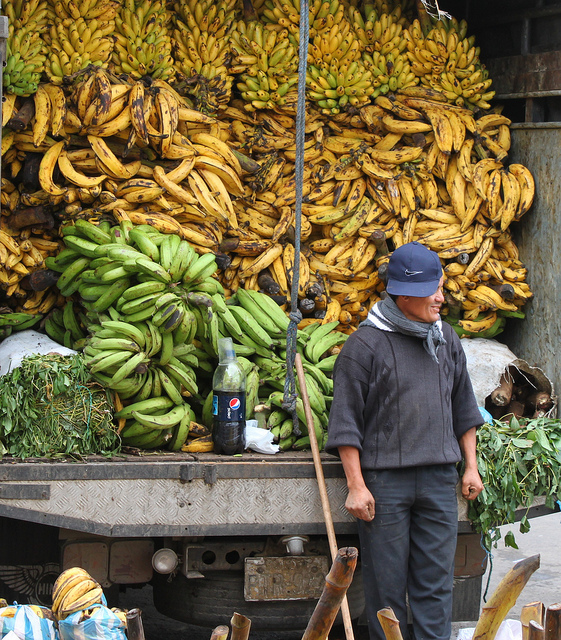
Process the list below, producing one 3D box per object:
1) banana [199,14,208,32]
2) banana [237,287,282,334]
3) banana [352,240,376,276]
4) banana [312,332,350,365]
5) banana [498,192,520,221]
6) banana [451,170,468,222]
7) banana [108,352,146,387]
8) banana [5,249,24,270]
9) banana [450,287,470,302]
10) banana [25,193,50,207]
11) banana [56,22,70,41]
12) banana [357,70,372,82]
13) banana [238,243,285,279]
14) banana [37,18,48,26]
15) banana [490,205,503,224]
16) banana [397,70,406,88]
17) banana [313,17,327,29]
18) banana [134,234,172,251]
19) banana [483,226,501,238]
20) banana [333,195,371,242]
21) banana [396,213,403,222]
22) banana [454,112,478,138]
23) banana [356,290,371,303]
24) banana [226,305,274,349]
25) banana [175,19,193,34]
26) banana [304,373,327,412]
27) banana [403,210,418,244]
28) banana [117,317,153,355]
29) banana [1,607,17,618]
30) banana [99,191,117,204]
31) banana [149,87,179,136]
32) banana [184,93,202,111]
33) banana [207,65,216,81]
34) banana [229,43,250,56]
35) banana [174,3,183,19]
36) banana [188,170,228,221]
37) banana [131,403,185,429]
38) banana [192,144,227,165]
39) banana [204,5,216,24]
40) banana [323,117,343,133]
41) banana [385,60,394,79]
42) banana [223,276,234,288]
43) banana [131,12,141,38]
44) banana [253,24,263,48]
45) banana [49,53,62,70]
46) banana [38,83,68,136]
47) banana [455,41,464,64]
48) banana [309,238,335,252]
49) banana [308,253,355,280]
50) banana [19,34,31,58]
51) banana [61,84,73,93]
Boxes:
[{"bbox_3d":[-0.473,-1.839,4.788,0.035,0.110,0.038,5,-8,16],"label":"banana"},{"bbox_3d":[-0.126,-0.048,4.533,0.310,0.066,0.107,49,13,22],"label":"banana"},{"bbox_3d":[0.572,-0.412,5.069,0.086,0.316,0.115,42,-36,-19],"label":"banana"},{"bbox_3d":[0.280,0.154,4.662,0.090,0.120,0.425,10,11,27],"label":"banana"},{"bbox_3d":[1.492,-0.771,5.062,0.058,0.261,0.098,-23,-27,30],"label":"banana"},{"bbox_3d":[1.200,-0.831,5.199,0.085,0.332,0.116,-4,-12,31],"label":"banana"},{"bbox_3d":[-0.755,0.235,3.776,0.039,0.201,0.052,45,1,14],"label":"banana"},{"bbox_3d":[-1.436,-0.326,4.167,0.052,0.046,0.137,3,35,29],"label":"banana"},{"bbox_3d":[1.169,-0.169,5.014,0.076,0.049,0.197,37,32,11],"label":"banana"},{"bbox_3d":[-1.336,-0.660,4.311,0.154,0.044,0.095,4,18,-24],"label":"banana"},{"bbox_3d":[-1.207,-1.609,4.332,0.031,0.113,0.037,-16,20,23],"label":"banana"},{"bbox_3d":[0.552,-1.572,4.977,0.034,0.039,0.117,14,45,47],"label":"banana"},{"bbox_3d":[-0.132,-0.366,4.823,0.281,0.066,0.094,-39,8,-35],"label":"banana"},{"bbox_3d":[-1.322,-1.666,4.317,0.055,0.028,0.018,-39,-51,15],"label":"banana"},{"bbox_3d":[1.406,-0.689,5.027,0.033,0.117,0.041,32,-19,-7],"label":"banana"},{"bbox_3d":[0.794,-1.581,5.077,0.054,0.100,0.035,6,-8,-6],"label":"banana"},{"bbox_3d":[0.257,-1.905,4.990,0.077,0.042,0.047,-37,-28,33],"label":"banana"},{"bbox_3d":[-0.673,-0.427,4.239,0.070,0.088,0.262,12,14,34],"label":"banana"},{"bbox_3d":[1.403,-0.594,5.115,0.160,0.049,0.059,-21,-14,-37],"label":"banana"},{"bbox_3d":[0.476,-0.674,5.101,0.147,0.098,0.367,29,45,11],"label":"banana"},{"bbox_3d":[0.795,-0.685,5.192,0.031,0.043,0.011,-16,-9,36],"label":"banana"},{"bbox_3d":[1.250,-1.305,5.168,0.061,0.215,0.075,-27,-28,-39],"label":"banana"},{"bbox_3d":[0.543,-0.163,5.106,0.025,0.103,0.036,36,-31,22],"label":"banana"},{"bbox_3d":[-0.179,0.048,4.402,0.270,0.062,0.093,44,19,11],"label":"banana"},{"bbox_3d":[-0.594,-1.810,4.764,0.136,0.037,0.045,41,-17,16],"label":"banana"},{"bbox_3d":[0.185,0.393,4.169,0.059,0.209,0.074,-31,4,18],"label":"banana"},{"bbox_3d":[0.857,-0.622,5.141,0.067,0.249,0.085,5,-34,25],"label":"banana"},{"bbox_3d":[-0.726,0.067,3.940,0.155,0.181,0.061,-3,-40,-50],"label":"banana"},{"bbox_3d":[-0.544,0.587,1.556,0.028,0.011,0.040,1,-2,-7],"label":"banana"},{"bbox_3d":[-0.982,-0.696,4.370,0.104,0.076,0.048,0,-2,13],"label":"banana"},{"bbox_3d":[-0.635,-1.236,4.515,0.094,0.326,0.127,-20,-15,-42],"label":"banana"},{"bbox_3d":[-0.530,-1.329,4.712,0.051,0.183,0.038,-43,-40,16],"label":"banana"},{"bbox_3d":[-0.413,-1.509,4.693,0.026,0.108,0.044,13,-12,-31],"label":"banana"},{"bbox_3d":[-0.252,-1.685,4.816,0.118,0.063,0.038,37,-18,3],"label":"banana"},{"bbox_3d":[-0.627,-1.934,4.803,0.027,0.072,0.020,-16,8,-25],"label":"banana"},{"bbox_3d":[-0.437,-0.737,4.612,0.108,0.319,0.094,-44,5,-41],"label":"banana"},{"bbox_3d":[-0.602,0.481,3.888,0.090,0.098,0.301,17,6,28],"label":"banana"},{"bbox_3d":[-0.420,-1.009,4.669,0.210,0.105,0.072,2,-2,-21],"label":"banana"},{"bbox_3d":[-0.426,-1.894,4.784,0.037,0.124,0.042,5,-1,-13],"label":"banana"},{"bbox_3d":[0.342,-1.299,5.144,0.183,0.053,0.049,26,14,3],"label":"banana"},{"bbox_3d":[0.710,-1.641,5.054,0.058,0.108,0.028,2,5,-4],"label":"banana"},{"bbox_3d":[-0.325,-0.236,4.799,0.061,0.077,0.027,1,7,9],"label":"banana"},{"bbox_3d":[-0.840,-1.723,4.510,0.041,0.137,0.045,-13,-4,-18],"label":"banana"},{"bbox_3d":[-0.138,-1.788,4.862,0.047,0.149,0.050,-15,-18,-3],"label":"banana"},{"bbox_3d":[-1.234,-1.429,4.259,0.068,0.073,0.042,2,-2,-16],"label":"banana"},{"bbox_3d":[-1.222,-1.157,4.197,0.125,0.290,0.072,-7,-16,-12],"label":"banana"},{"bbox_3d":[1.184,-1.782,5.103,0.032,0.113,0.039,4,-9,1],"label":"banana"},{"bbox_3d":[0.277,-0.496,5.080,0.206,0.062,0.129,-13,5,8],"label":"banana"},{"bbox_3d":[0.379,-0.317,4.937,0.373,0.102,0.120,16,-11,11],"label":"banana"},{"bbox_3d":[-1.362,-1.472,4.137,0.037,0.120,0.041,13,-27,-21],"label":"banana"},{"bbox_3d":[-1.183,-1.283,4.287,0.054,0.068,0.026,0,-10,11],"label":"banana"}]
